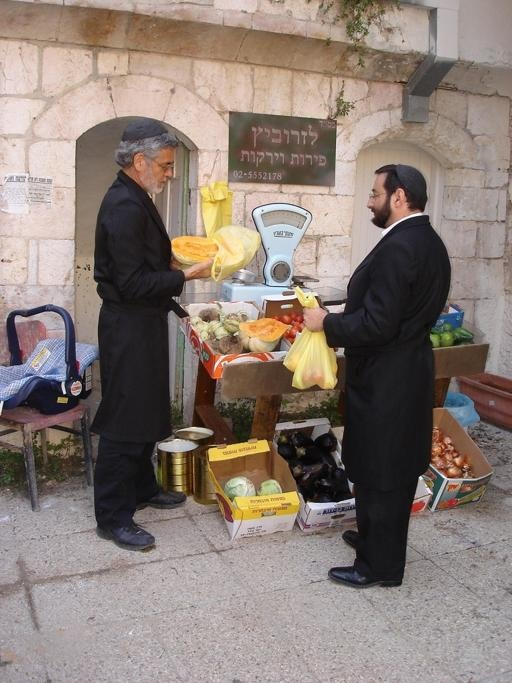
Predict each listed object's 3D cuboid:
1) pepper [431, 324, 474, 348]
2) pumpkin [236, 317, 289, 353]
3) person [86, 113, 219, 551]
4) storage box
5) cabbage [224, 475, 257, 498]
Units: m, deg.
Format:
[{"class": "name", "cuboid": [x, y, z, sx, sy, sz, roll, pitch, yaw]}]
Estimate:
[{"class": "pepper", "cuboid": [1.093, -0.031, 3.311, 0.262, 0.105, 0.179, -9, 24, 10]}, {"class": "pumpkin", "cuboid": [0.028, -0.032, 2.716, 0.217, 0.136, 0.190, -5, 11, -38]}, {"class": "person", "cuboid": [-0.499, -0.024, 2.614, 0.378, 1.861, 0.480, 9, 12, 31]}, {"class": "storage box", "cuboid": [0.402, 0.513, 3.571, 1.750, 0.511, 0.989, -2, 12, -18]}, {"class": "cabbage", "cuboid": [-0.084, 0.667, 2.696, 0.122, 0.081, 0.116, 16, -7, -23]}]
